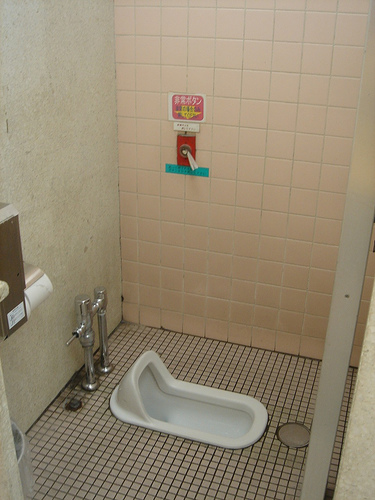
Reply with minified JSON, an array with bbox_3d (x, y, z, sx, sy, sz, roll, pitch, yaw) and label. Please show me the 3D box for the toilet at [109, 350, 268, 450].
[{"bbox_3d":[-0.012,0.695,1.986,0.730,0.425,0.434,3,13,22],"label":"toilet"}]
